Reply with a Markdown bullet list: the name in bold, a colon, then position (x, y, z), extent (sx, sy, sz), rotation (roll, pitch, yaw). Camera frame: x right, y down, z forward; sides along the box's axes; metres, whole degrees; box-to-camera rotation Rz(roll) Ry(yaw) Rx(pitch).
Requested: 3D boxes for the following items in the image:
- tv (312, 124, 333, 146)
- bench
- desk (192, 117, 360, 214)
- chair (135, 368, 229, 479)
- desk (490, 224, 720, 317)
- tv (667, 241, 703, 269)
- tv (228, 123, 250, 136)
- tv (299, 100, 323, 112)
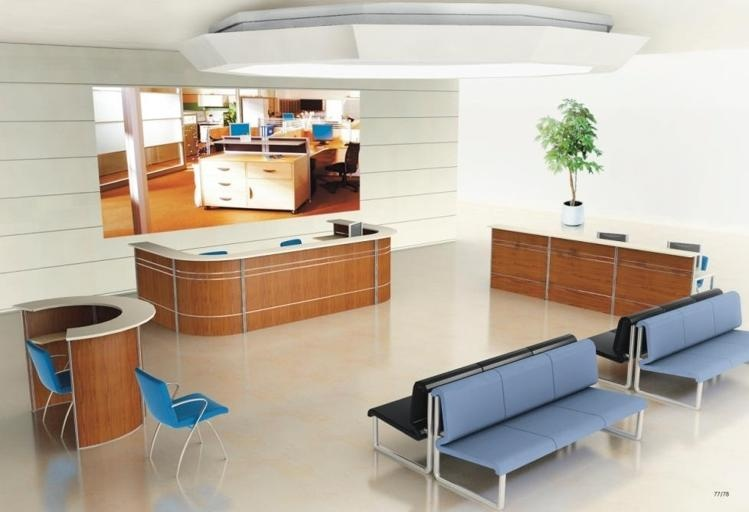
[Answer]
- **tv**: position (-1.196, -2.768, 11.366), extent (0.458, 0.394, 0.155), rotation (-7, 24, -25)
- **bench**: position (1.304, 1.480, 4.711), extent (2.091, 0.825, 1.508), rotation (-10, 13, -37)
- **desk**: position (-2.490, -1.956, 10.896), extent (1.948, 1.287, 1.873), rotation (2, 13, 12)
- **chair**: position (-1.919, 1.511, 5.021), extent (0.727, 0.975, 0.789), rotation (-9, 14, -27)
- **desk**: position (3.836, 0.277, 8.849), extent (0.818, 1.221, 3.546), rotation (-5, 10, -29)
- **tv**: position (4.877, -0.002, 7.901), extent (0.301, 0.373, 0.403), rotation (-17, 22, -40)
- **tv**: position (-2.798, -2.633, 10.438), extent (0.440, 0.290, 0.246), rotation (-3, 9, -19)
- **tv**: position (-1.391, -3.349, 11.145), extent (0.537, 0.255, 0.099), rotation (-12, 16, -37)
